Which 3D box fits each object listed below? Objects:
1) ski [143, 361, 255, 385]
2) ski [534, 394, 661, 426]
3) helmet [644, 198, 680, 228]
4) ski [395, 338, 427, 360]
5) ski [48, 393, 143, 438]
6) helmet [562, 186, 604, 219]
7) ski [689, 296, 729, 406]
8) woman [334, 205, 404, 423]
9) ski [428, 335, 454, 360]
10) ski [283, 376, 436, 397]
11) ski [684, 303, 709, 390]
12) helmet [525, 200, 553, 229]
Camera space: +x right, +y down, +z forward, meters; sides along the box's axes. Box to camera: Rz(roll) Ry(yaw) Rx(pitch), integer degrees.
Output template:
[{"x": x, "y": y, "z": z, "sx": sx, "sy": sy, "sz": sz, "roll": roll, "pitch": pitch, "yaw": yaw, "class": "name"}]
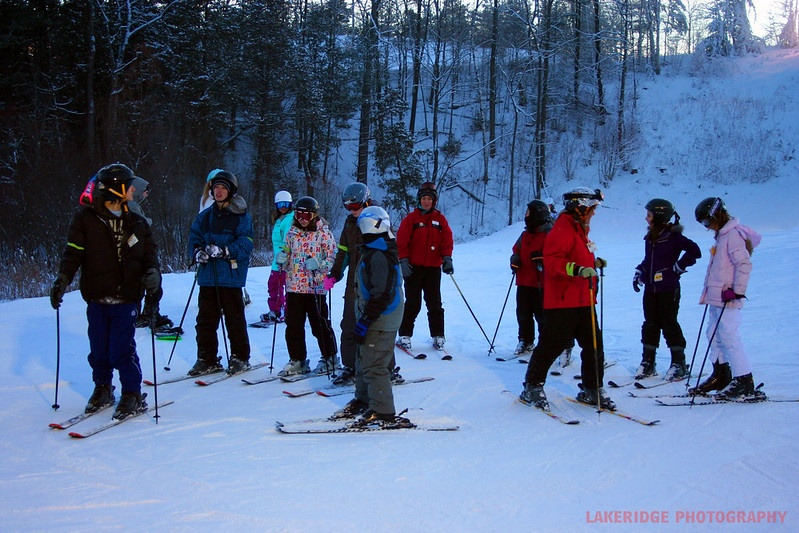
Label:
[{"x": -4.165, "y": 2.234, "z": 16.306, "sx": 1.842, "sy": 0.150, "sz": 0.209, "roll": -14, "pitch": 26, "yaw": -37, "class": "ski"}, {"x": 3.824, "y": 2.838, "z": 15.379, "sx": 1.747, "sy": 0.145, "sz": 0.243, "roll": 12, "pitch": 57, "yaw": 17, "class": "ski"}, {"x": 5.592, "y": -1.167, "z": 16.780, "sx": 0.546, "sy": 0.734, "sz": 0.533, "roll": -1, "pitch": 6, "yaw": 14, "class": "helmet"}, {"x": 0.225, "y": 1.826, "z": 17.384, "sx": 0.247, "sy": 0.207, "sz": 1.044, "roll": 15, "pitch": 11, "yaw": -29, "class": "ski"}, {"x": -5.921, "y": 2.766, "z": 15.568, "sx": 0.264, "sy": 0.193, "sz": 2.373, "roll": 20, "pitch": 25, "yaw": 22, "class": "ski"}, {"x": 3.594, "y": -1.260, "z": 15.424, "sx": 0.696, "sy": 0.541, "sz": 0.538, "roll": -3, "pitch": 11, "yaw": 9, "class": "helmet"}, {"x": 6.403, "y": 1.833, "z": 16.264, "sx": 0.198, "sy": 2.190, "sz": 0.250, "roll": 15, "pitch": 9, "yaw": -20, "class": "ski"}, {"x": -0.492, "y": 0.965, "z": 15.010, "sx": 1.107, "sy": 4.192, "sz": 0.602, "roll": -3, "pitch": 5, "yaw": -1, "class": "woman"}, {"x": 0.938, "y": 1.830, "z": 17.444, "sx": 0.210, "sy": 0.297, "sz": 0.694, "roll": -1, "pitch": 6, "yaw": -11, "class": "ski"}, {"x": -0.870, "y": 2.422, "z": 15.766, "sx": 3.061, "sy": 0.171, "sz": 0.320, "roll": -4, "pitch": 32, "yaw": -12, "class": "ski"}, {"x": 6.556, "y": 1.833, "z": 17.385, "sx": 0.269, "sy": 1.847, "sz": 0.236, "roll": 11, "pitch": 29, "yaw": 12, "class": "ski"}, {"x": 3.006, "y": -1.171, "z": 17.394, "sx": 0.676, "sy": 0.670, "sz": 0.512, "roll": -7, "pitch": 14, "yaw": -11, "class": "helmet"}]
